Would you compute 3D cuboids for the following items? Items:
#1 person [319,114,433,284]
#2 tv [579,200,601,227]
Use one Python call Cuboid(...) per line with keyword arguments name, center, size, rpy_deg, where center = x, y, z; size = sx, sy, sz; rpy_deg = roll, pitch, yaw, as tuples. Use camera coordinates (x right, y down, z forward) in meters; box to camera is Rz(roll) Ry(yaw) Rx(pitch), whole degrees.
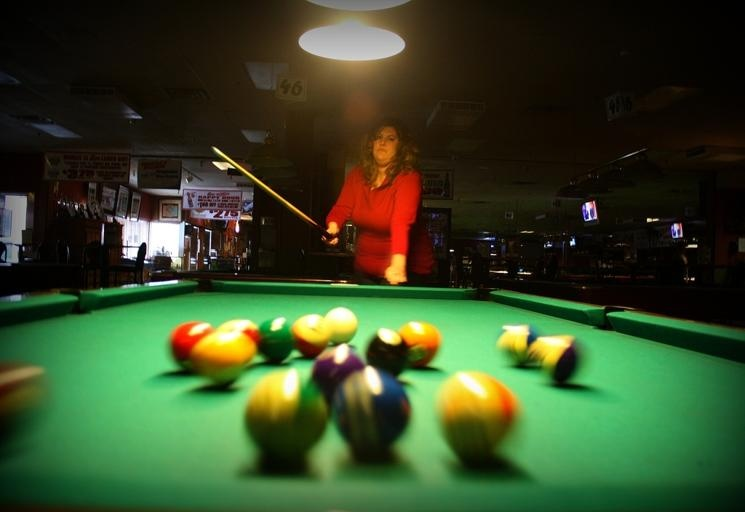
Cuboid(name="person", center=(0.031, -0.382, 4.456), size=(0.694, 1.505, 0.759), rpy_deg=(4, 5, 1))
Cuboid(name="tv", center=(6.177, -1.266, 15.552), size=(0.655, 0.953, 0.521), rpy_deg=(-3, -2, 40))
